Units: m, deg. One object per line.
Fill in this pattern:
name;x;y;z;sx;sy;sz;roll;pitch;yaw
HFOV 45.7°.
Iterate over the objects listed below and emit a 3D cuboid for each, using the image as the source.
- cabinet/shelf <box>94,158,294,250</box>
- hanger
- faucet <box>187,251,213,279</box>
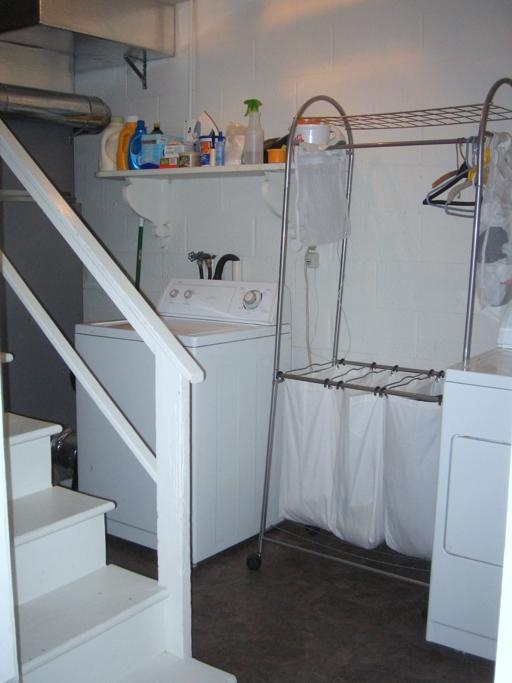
cabinet/shelf;-0.380;-0.644;2.925;0.718;0.352;0.334;5;10;33
hanger;0.638;-0.514;1.949;0.188;0.236;0.652;2;6;16
faucet;-0.269;-0.371;2.950;0.147;0.178;0.063;-1;-1;-7
